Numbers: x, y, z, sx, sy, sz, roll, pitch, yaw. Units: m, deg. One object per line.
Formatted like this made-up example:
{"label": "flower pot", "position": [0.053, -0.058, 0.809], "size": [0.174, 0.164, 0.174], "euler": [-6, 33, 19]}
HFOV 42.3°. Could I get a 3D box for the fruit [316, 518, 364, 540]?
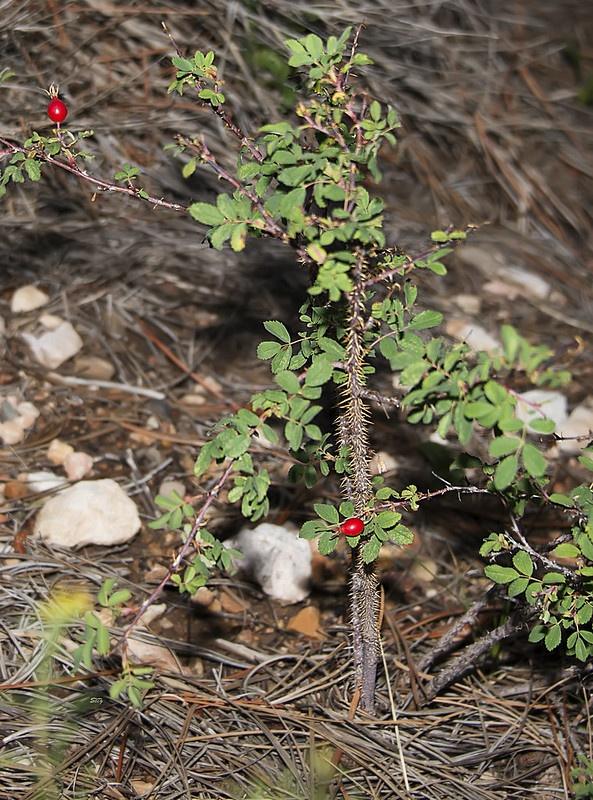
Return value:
{"label": "fruit", "position": [0.090, 0.244, 1.453], "size": [0.054, 0.030, 0.031], "euler": [1, 56, -33]}
